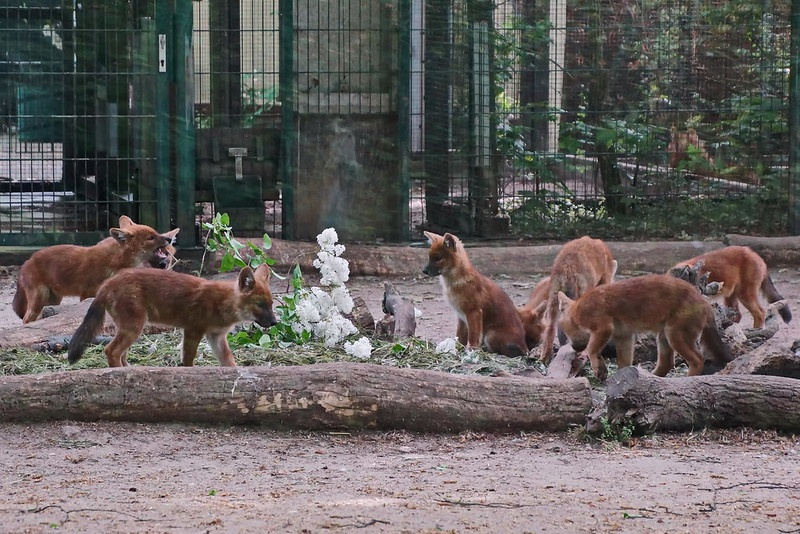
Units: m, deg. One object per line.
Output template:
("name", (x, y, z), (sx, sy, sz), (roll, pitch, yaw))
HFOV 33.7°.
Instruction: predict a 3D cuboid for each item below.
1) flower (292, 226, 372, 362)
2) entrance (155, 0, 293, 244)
("flower", (-0.653, 0.251, 14.986), (0.919, 1.372, 1.012), (1, 5, 17))
("entrance", (-2.420, -2.200, 19.250), (1.800, 3.585, 2.556), (0, 5, 1))
